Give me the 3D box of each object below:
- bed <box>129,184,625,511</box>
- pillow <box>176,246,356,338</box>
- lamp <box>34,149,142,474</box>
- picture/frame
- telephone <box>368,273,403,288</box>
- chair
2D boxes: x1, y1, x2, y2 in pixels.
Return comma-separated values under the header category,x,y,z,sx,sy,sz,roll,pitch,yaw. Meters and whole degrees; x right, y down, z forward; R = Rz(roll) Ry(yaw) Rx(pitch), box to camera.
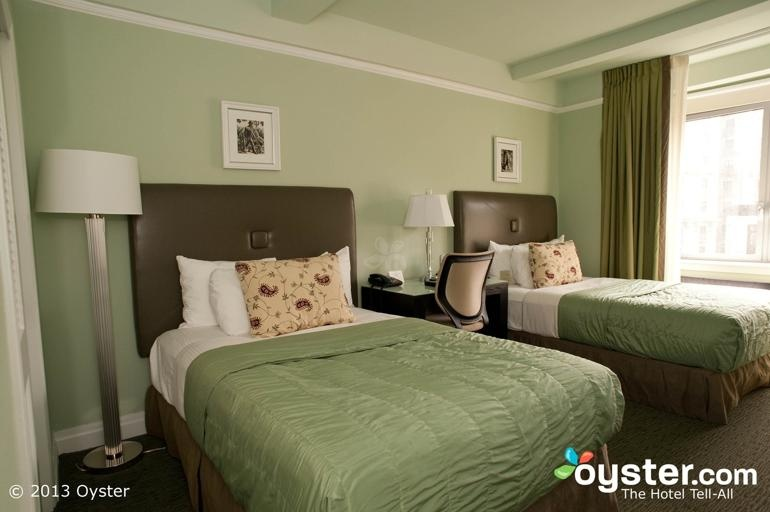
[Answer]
category,x,y,z,sx,sy,sz,roll,pitch,yaw
bed,-0.746,0.459,3.739,1.844,2.066,1.539,-6,7,-36
pillow,-1.148,0.264,3.739,0.734,0.562,0.568,-4,6,-23
lamp,-1.973,0.361,3.460,0.632,2.194,0.329,-5,7,-29
picture/frame,-1.129,-1.001,4.128,0.586,0.678,0.050,-1,0,-37
telephone,-0.008,0.233,4.556,0.173,0.070,0.174,-2,4,-44
chair,0.653,0.317,4.422,0.559,0.749,0.517,-6,10,-30
